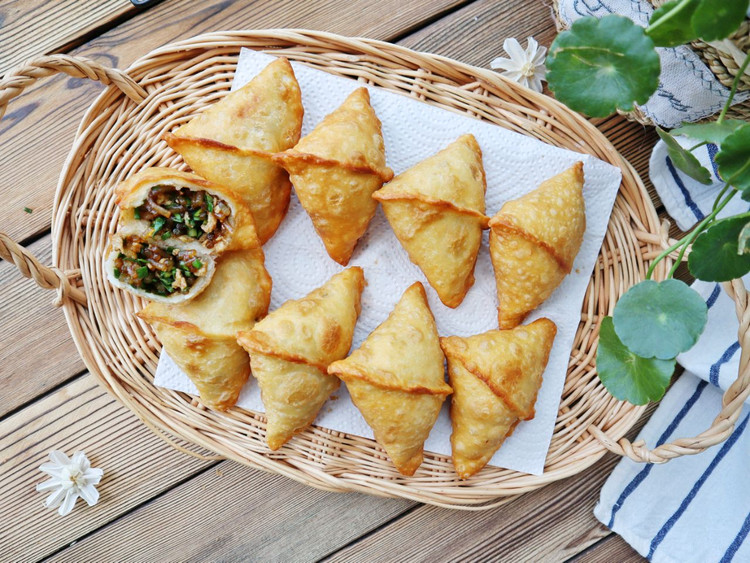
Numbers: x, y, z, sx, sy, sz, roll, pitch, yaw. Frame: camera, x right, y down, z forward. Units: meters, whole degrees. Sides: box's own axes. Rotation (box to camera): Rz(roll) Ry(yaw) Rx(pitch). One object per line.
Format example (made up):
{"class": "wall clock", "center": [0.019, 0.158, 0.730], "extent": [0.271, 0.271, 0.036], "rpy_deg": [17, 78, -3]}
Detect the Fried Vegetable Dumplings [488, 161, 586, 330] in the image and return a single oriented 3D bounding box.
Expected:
{"class": "Fried Vegetable Dumplings", "center": [0.346, -0.078, 1.476], "extent": [0.169, 0.129, 0.340], "rpy_deg": [27, 101, 17]}

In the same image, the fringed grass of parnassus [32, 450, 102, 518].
{"class": "fringed grass of parnassus", "center": [-0.727, 0.474, 1.623], "extent": [0.146, 0.059, 0.167], "rpy_deg": [-9, 79, -11]}

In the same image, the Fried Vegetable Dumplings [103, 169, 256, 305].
{"class": "Fried Vegetable Dumplings", "center": [-0.405, -0.088, 1.445], "extent": [0.284, 0.114, 0.250], "rpy_deg": [24, 87, -12]}
